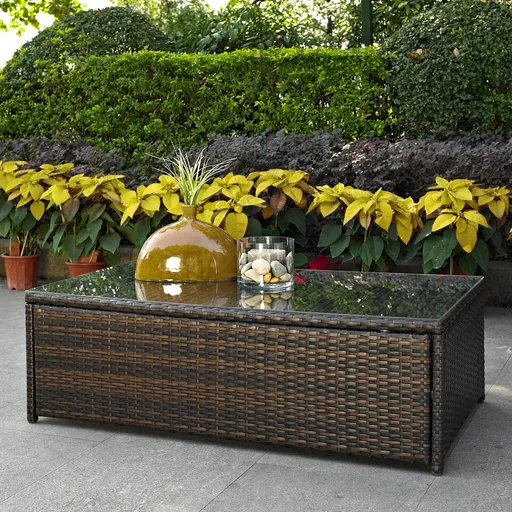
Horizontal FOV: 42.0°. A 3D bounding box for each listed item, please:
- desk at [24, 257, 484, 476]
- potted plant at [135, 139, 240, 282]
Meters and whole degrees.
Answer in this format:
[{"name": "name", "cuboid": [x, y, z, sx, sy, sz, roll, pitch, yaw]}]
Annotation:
[{"name": "desk", "cuboid": [-0.018, 0.337, 2.319, 1.415, 0.465, 0.619, 3, 10, 20]}, {"name": "potted plant", "cuboid": [-0.259, -0.169, 2.684, 0.468, 0.409, 0.432, -13, 22, -37]}]
